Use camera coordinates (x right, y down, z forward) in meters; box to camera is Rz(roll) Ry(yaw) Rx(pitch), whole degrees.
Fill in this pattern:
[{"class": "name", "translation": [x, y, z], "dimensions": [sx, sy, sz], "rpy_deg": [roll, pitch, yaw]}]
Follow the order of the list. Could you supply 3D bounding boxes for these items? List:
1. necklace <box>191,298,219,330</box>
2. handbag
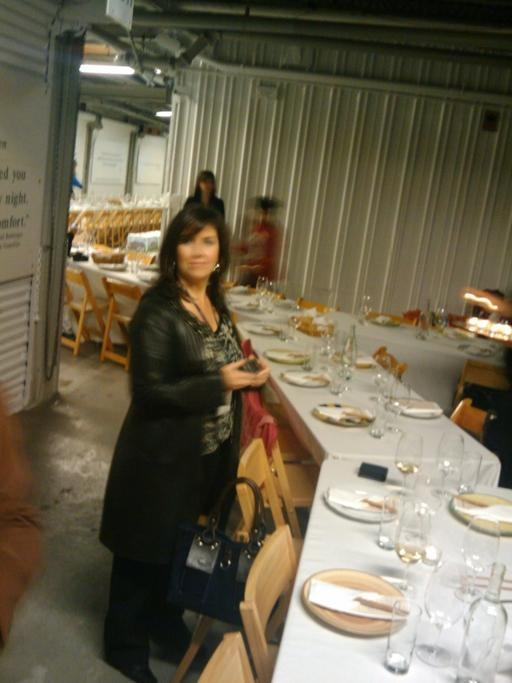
[{"class": "necklace", "translation": [-0.217, -0.112, 1.952], "dimensions": [0.177, 0.065, 0.023], "rpy_deg": [58, 14, 28]}, {"class": "handbag", "translation": [-0.101, 0.743, 1.574], "dimensions": [0.327, 0.361, 0.148], "rpy_deg": [13, 10, -9]}]
